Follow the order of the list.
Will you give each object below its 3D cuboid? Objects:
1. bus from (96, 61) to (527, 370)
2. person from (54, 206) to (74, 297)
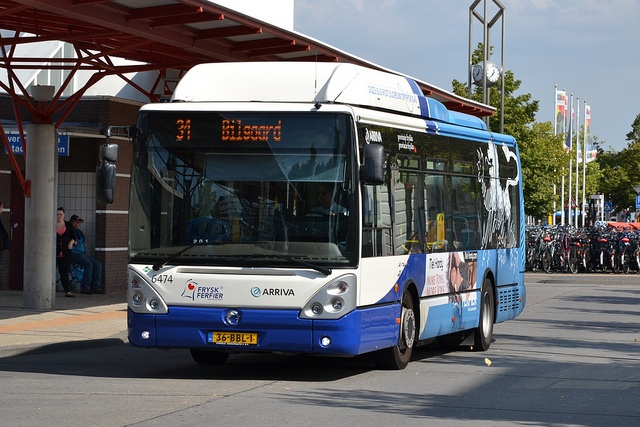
[{"bbox_3d":[0.530,0.107,12.547,2.720,4.434,6.453,-2,0,42],"label":"bus"},{"bbox_3d":[-6.597,0.985,20.568,0.445,2.379,0.534,-2,0,-11],"label":"person"}]
